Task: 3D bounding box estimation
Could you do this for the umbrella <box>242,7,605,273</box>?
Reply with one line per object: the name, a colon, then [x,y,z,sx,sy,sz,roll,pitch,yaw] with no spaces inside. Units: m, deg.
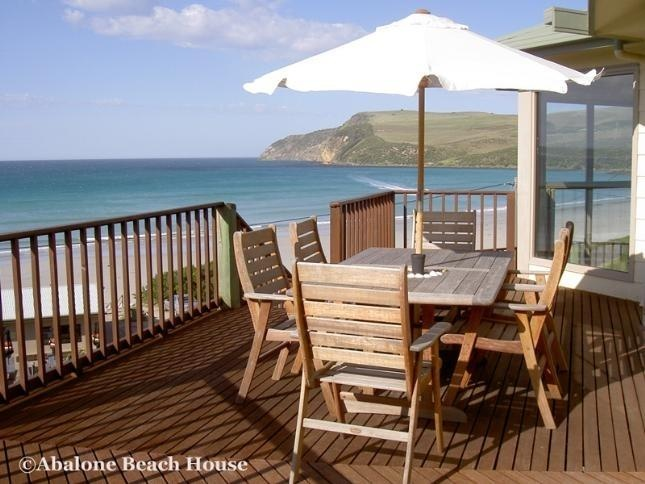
umbrella: [0.638,-0.597,3.542,1.702,1.257,1.837,2,12,17]
